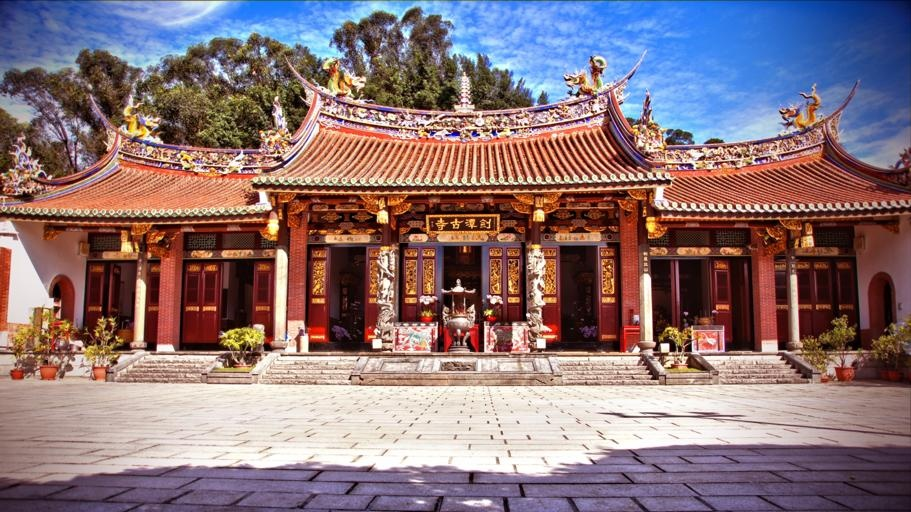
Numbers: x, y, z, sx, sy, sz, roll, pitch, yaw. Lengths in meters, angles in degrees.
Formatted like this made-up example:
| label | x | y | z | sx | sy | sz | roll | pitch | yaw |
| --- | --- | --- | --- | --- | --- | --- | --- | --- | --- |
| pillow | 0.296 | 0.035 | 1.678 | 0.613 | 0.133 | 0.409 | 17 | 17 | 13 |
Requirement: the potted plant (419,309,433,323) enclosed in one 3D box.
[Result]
| label | x | y | z | sx | sy | sz | roll | pitch | yaw |
| --- | --- | --- | --- | --- | --- | --- | --- | --- | --- |
| potted plant | -0.935 | 1.997 | 21.533 | 0.449 | 0.343 | 0.392 | 0 | -11 | 3 |

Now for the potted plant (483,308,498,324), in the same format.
| label | x | y | z | sx | sy | sz | roll | pitch | yaw |
| --- | --- | --- | --- | --- | --- | --- | --- | --- | --- |
| potted plant | 1.150 | 1.981 | 21.466 | 0.470 | 0.440 | 0.449 | -1 | -16 | 8 |

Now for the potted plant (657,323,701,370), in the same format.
| label | x | y | z | sx | sy | sz | roll | pitch | yaw |
| --- | --- | --- | --- | --- | --- | --- | --- | --- | --- |
| potted plant | 7.015 | 2.891 | 20.726 | 1.700 | 1.527 | 1.229 | 1 | -26 | 5 |

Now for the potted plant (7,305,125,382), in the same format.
| label | x | y | z | sx | sy | sz | roll | pitch | yaw |
| --- | --- | --- | --- | --- | --- | --- | --- | --- | --- |
| potted plant | -12.613 | 2.923 | 21.049 | 2.923 | 1.660 | 2.835 | 4 | 0 | -31 |

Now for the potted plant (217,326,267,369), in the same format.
| label | x | y | z | sx | sy | sz | roll | pitch | yaw |
| --- | --- | --- | --- | --- | --- | --- | --- | --- | --- |
| potted plant | -6.654 | 2.865 | 20.586 | 1.877 | 1.421 | 1.342 | 3 | -12 | -16 |
